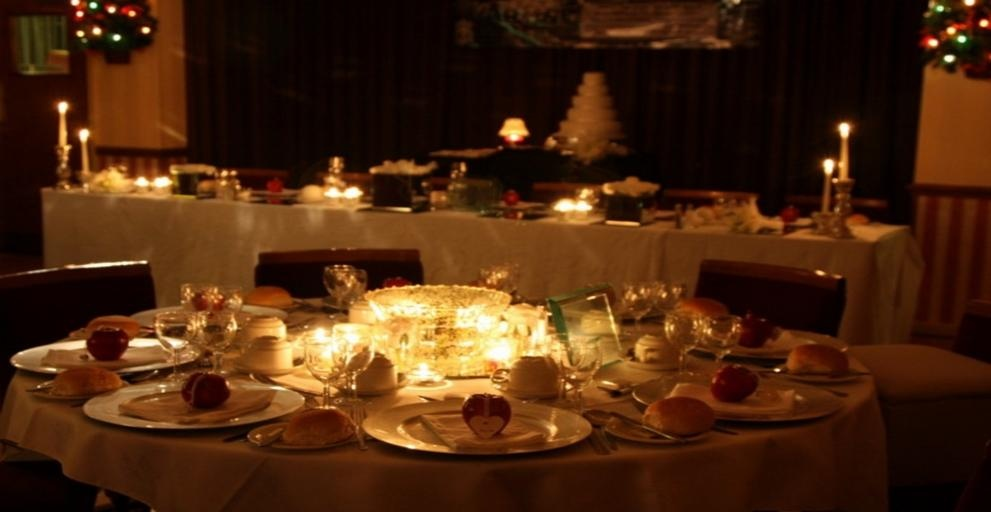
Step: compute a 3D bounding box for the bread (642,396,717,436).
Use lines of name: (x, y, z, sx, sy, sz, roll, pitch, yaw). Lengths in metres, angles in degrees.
bread: (0.626, 0.521, 2.642, 0.165, 0.043, 0.164, 12, 14, 38)

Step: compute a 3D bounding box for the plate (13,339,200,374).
plate: (-1.519, 0.391, 3.010, 0.342, 0.024, 0.304, 3, 4, 17)

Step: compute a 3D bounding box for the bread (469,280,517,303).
bread: (0.006, 0.149, 3.453, 0.152, 0.059, 0.128, 0, 6, -18)

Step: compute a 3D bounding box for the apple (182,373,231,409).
apple: (-1.028, 0.470, 2.746, 0.157, 0.092, 0.179, 7, 13, 24)

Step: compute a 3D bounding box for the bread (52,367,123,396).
bread: (-1.478, 0.440, 2.799, 0.152, 0.041, 0.139, 4, -2, -44)

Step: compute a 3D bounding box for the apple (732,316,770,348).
apple: (1.052, 0.315, 3.223, 0.157, 0.119, 0.148, 0, -1, 2)

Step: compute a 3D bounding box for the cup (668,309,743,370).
cup: (0.803, 0.334, 2.984, 0.263, 0.207, 0.116, -1, 9, 3)

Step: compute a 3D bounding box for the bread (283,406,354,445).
bread: (-0.600, 0.568, 2.586, 0.193, 0.053, 0.124, -1, 9, 8)

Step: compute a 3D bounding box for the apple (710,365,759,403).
apple: (0.846, 0.465, 2.810, 0.172, 0.108, 0.115, -7, 4, 9)

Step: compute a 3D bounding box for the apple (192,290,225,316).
apple: (-1.173, 0.187, 3.141, 0.103, 0.036, 0.107, 9, 18, 15)

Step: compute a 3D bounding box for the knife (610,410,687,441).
knife: (0.524, 0.585, 2.643, 0.250, 0.035, 0.013, 19, 58, 32)

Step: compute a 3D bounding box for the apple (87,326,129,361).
apple: (-1.486, 0.333, 2.971, 0.138, 0.087, 0.137, 2, 4, 7)

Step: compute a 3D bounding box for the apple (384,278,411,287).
apple: (-0.427, 0.116, 3.362, 0.080, 0.024, 0.072, 0, 4, -8)

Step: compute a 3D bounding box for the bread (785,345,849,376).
bread: (1.240, 0.393, 2.988, 0.161, 0.065, 0.147, 3, -6, 2)

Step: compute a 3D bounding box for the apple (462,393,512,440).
apple: (-0.057, 0.557, 2.651, 0.181, 0.126, 0.176, -4, -9, 38)
